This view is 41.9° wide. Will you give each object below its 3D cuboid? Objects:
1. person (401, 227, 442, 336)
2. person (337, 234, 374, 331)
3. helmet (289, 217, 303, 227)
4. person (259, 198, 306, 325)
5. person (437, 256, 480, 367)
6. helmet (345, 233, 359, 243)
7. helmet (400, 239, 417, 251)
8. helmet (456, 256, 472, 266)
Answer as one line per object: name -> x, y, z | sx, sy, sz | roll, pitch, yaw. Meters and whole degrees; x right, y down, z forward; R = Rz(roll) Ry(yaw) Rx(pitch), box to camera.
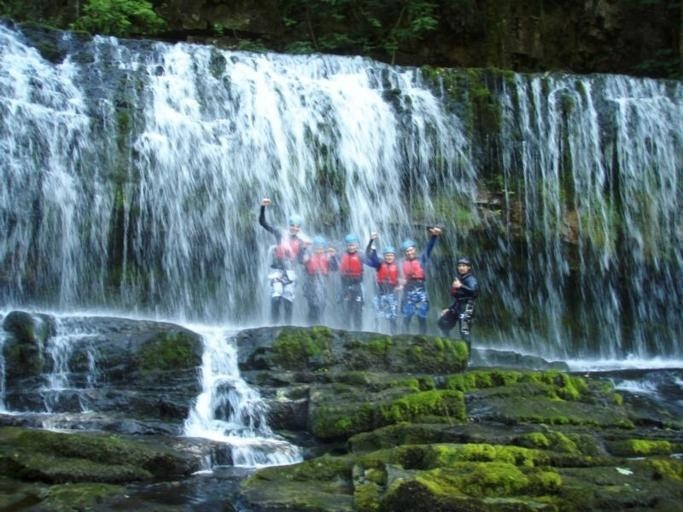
person -> 1.685, 0.521, 19.612 | 0.867, 2.291, 0.697 | -2, -3, 16
person -> 0.226, 0.572, 19.804 | 0.570, 2.076, 0.605 | 0, -3, -17
helmet -> -0.997, -0.784, 19.653 | 0.194, 0.237, 0.254 | 6, -14, -21
person -> -1.295, 0.114, 19.747 | 1.087, 2.753, 1.245 | 0, -3, -15
person -> 2.486, 1.133, 18.984 | 0.817, 2.226, 1.137 | -1, -3, 0
helmet -> 0.220, -0.404, 19.761 | 0.220, 0.160, 0.219 | 1, 8, -43
helmet -> 1.513, -0.243, 19.873 | 0.252, 0.284, 0.342 | 19, 34, 40
helmet -> 2.584, 0.068, 18.837 | 0.246, 0.226, 0.350 | 0, -14, 11
